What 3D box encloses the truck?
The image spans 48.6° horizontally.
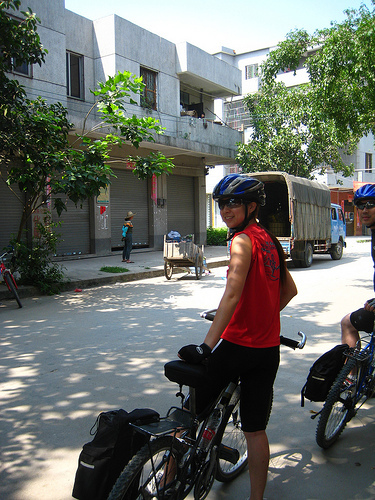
[{"bbox_3d":[4.292,-1.460,18.230,2.669,4.129,8.015,2,6,32],"label":"truck"}]

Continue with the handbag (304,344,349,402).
[{"bbox_3d":[0.861,0.759,2.561,0.432,0.309,0.111,-3,3,-34],"label":"handbag"}]

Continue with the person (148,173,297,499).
[{"bbox_3d":[0.191,0.370,1.832,0.616,1.318,0.525,1,2,19],"label":"person"}]

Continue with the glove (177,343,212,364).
[{"bbox_3d":[0.033,0.358,1.437,0.095,0.046,0.074,8,9,44],"label":"glove"}]

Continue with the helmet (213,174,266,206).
[{"bbox_3d":[0.237,-0.260,1.848,0.215,0.148,0.207,5,9,26],"label":"helmet"}]

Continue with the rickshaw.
[{"bbox_3d":[0.074,0.232,13.068,1.058,1.390,2.406,0,4,17],"label":"rickshaw"}]
